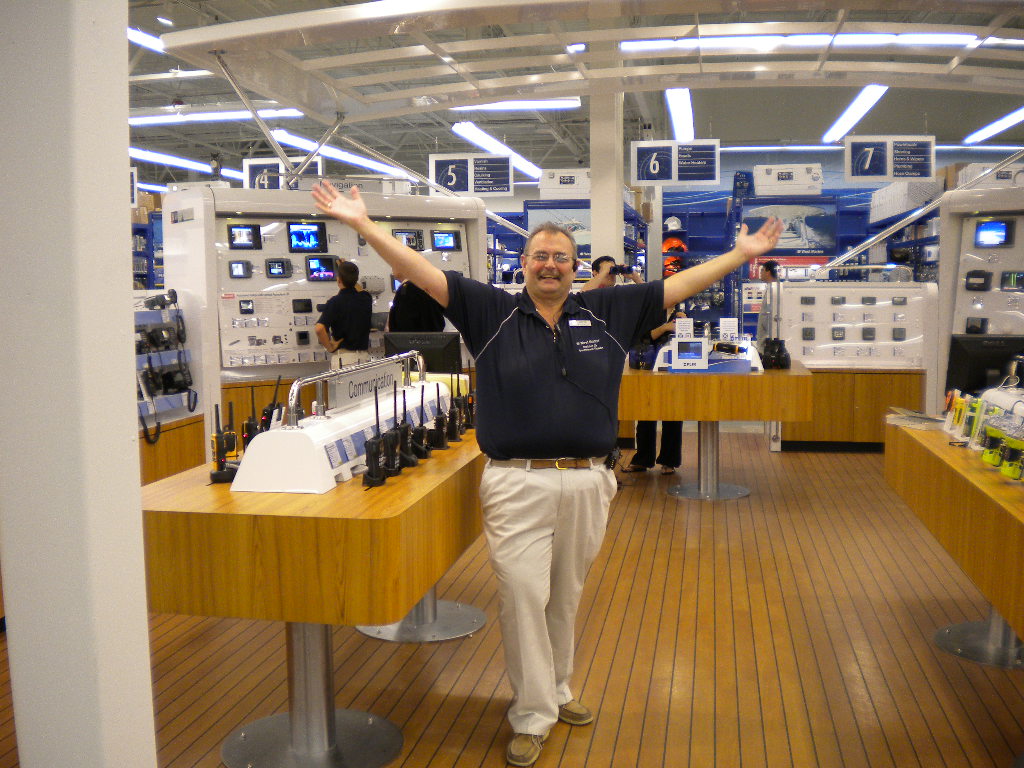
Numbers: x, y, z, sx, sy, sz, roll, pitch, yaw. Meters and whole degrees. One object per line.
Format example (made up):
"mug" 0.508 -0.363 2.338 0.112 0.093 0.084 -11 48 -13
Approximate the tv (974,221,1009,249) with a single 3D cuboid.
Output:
"tv" 5.138 -1.602 8.356 0.305 0.286 0.172 3 2 42

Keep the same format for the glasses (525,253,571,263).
"glasses" 0.151 -0.500 3.085 0.162 0.044 0.053 0 7 5

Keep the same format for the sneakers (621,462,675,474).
"sneakers" 1.406 0.861 7.902 0.495 0.120 0.175 3 -5 -2

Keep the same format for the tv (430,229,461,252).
"tv" -0.803 -1.725 9.360 0.470 0.320 0.242 1 20 0

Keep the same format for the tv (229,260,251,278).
"tv" -2.899 -1.226 8.340 0.217 0.181 0.058 -3 8 -20

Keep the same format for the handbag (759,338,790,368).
"handbag" 2.338 -0.260 6.984 0.268 0.276 0.292 1 -2 10

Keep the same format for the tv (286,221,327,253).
"tv" -2.317 -1.648 8.714 0.373 0.311 0.050 -3 0 -35

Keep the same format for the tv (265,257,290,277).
"tv" -2.550 -1.269 8.527 0.321 0.275 0.179 -1 -1 -13

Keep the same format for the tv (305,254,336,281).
"tv" -2.172 -1.314 8.787 0.306 0.263 0.138 1 7 -6

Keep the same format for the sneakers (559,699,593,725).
"sneakers" 0.273 1.393 3.320 0.135 0.055 0.068 -3 -5 32

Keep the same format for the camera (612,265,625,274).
"camera" 0.968 -1.038 7.074 0.085 0.048 0.133 0 5 10
